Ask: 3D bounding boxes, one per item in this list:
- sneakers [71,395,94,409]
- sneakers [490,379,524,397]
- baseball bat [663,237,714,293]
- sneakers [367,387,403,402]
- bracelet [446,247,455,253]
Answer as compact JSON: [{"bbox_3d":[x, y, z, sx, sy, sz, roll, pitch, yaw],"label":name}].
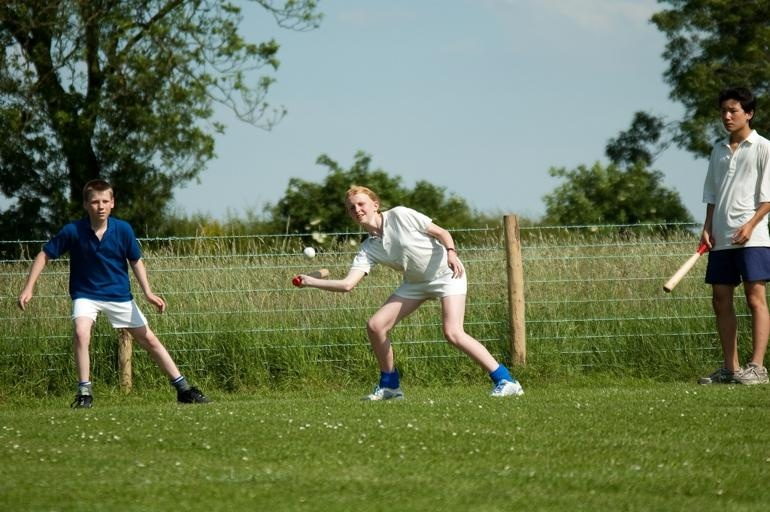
[{"bbox_3d":[-4.543,2.177,20.113,0.154,0.166,0.434,2,-8,-2],"label":"sneakers"},{"bbox_3d":[1.811,1.963,19.837,0.559,0.221,0.198,1,-4,-15],"label":"sneakers"},{"bbox_3d":[4.833,0.173,21.279,1.283,0.173,0.179,-44,-4,-36],"label":"baseball bat"},{"bbox_3d":[0.013,2.053,19.993,0.577,0.196,0.198,2,-5,-12],"label":"sneakers"},{"bbox_3d":[0.960,-0.100,19.593,0.110,0.051,0.102,-2,-2,3],"label":"bracelet"}]
